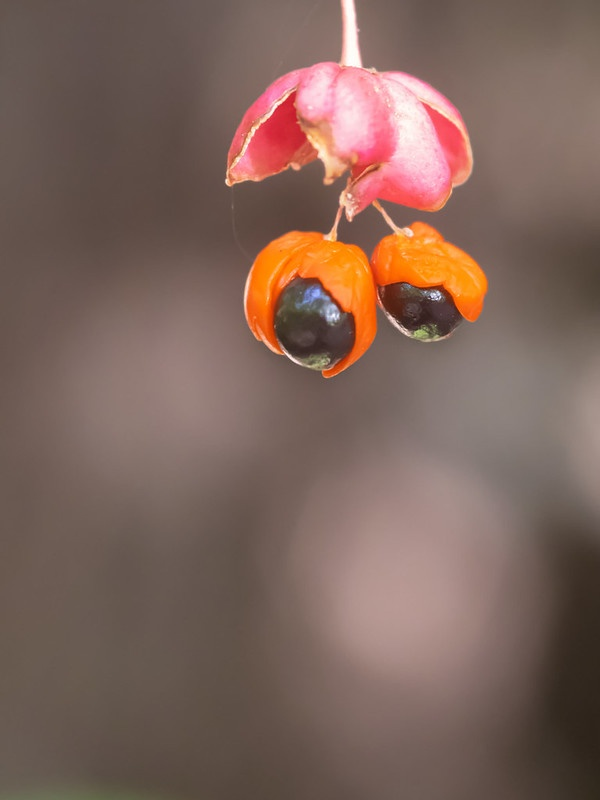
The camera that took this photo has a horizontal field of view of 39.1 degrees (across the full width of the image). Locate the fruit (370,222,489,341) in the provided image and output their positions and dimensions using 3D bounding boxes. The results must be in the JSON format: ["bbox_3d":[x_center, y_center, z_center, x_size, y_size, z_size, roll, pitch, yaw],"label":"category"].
[{"bbox_3d":[0.123,-0.112,0.819,0.116,0.070,0.094,44,12,15],"label":"fruit"}]

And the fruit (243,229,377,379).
[{"bbox_3d":[0.037,-0.087,0.838,0.178,0.135,0.138,3,7,13],"label":"fruit"}]

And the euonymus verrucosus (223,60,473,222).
[{"bbox_3d":[0.066,-0.249,0.828,0.222,0.138,0.185,-7,26,-33],"label":"euonymus verrucosus"}]
